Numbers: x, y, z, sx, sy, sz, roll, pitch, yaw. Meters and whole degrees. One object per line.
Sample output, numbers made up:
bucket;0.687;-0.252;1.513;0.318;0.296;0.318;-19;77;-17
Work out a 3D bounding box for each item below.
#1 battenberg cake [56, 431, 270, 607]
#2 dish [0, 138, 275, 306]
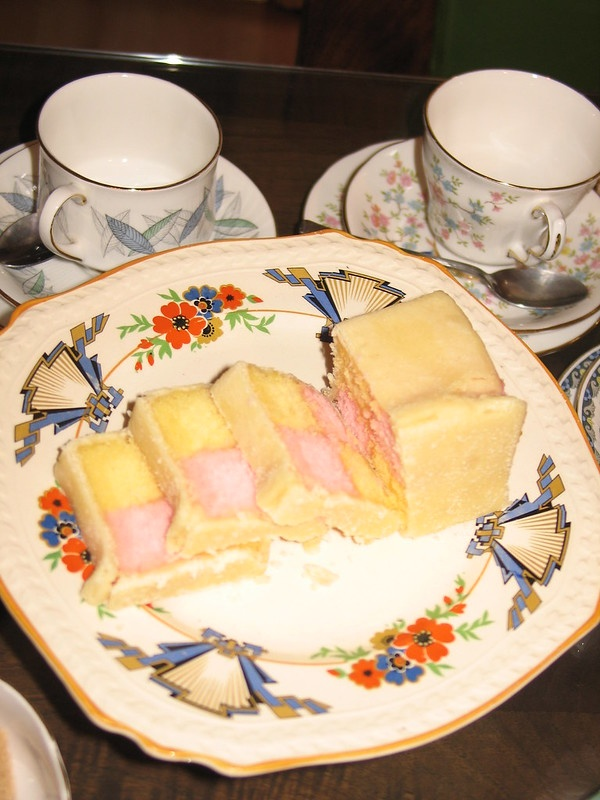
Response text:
battenberg cake;-0.149;0.111;0.760;0.188;0.105;0.170;-15;46;-19
dish;-0.211;-0.254;0.965;0.309;0.058;0.293;-32;74;-27
